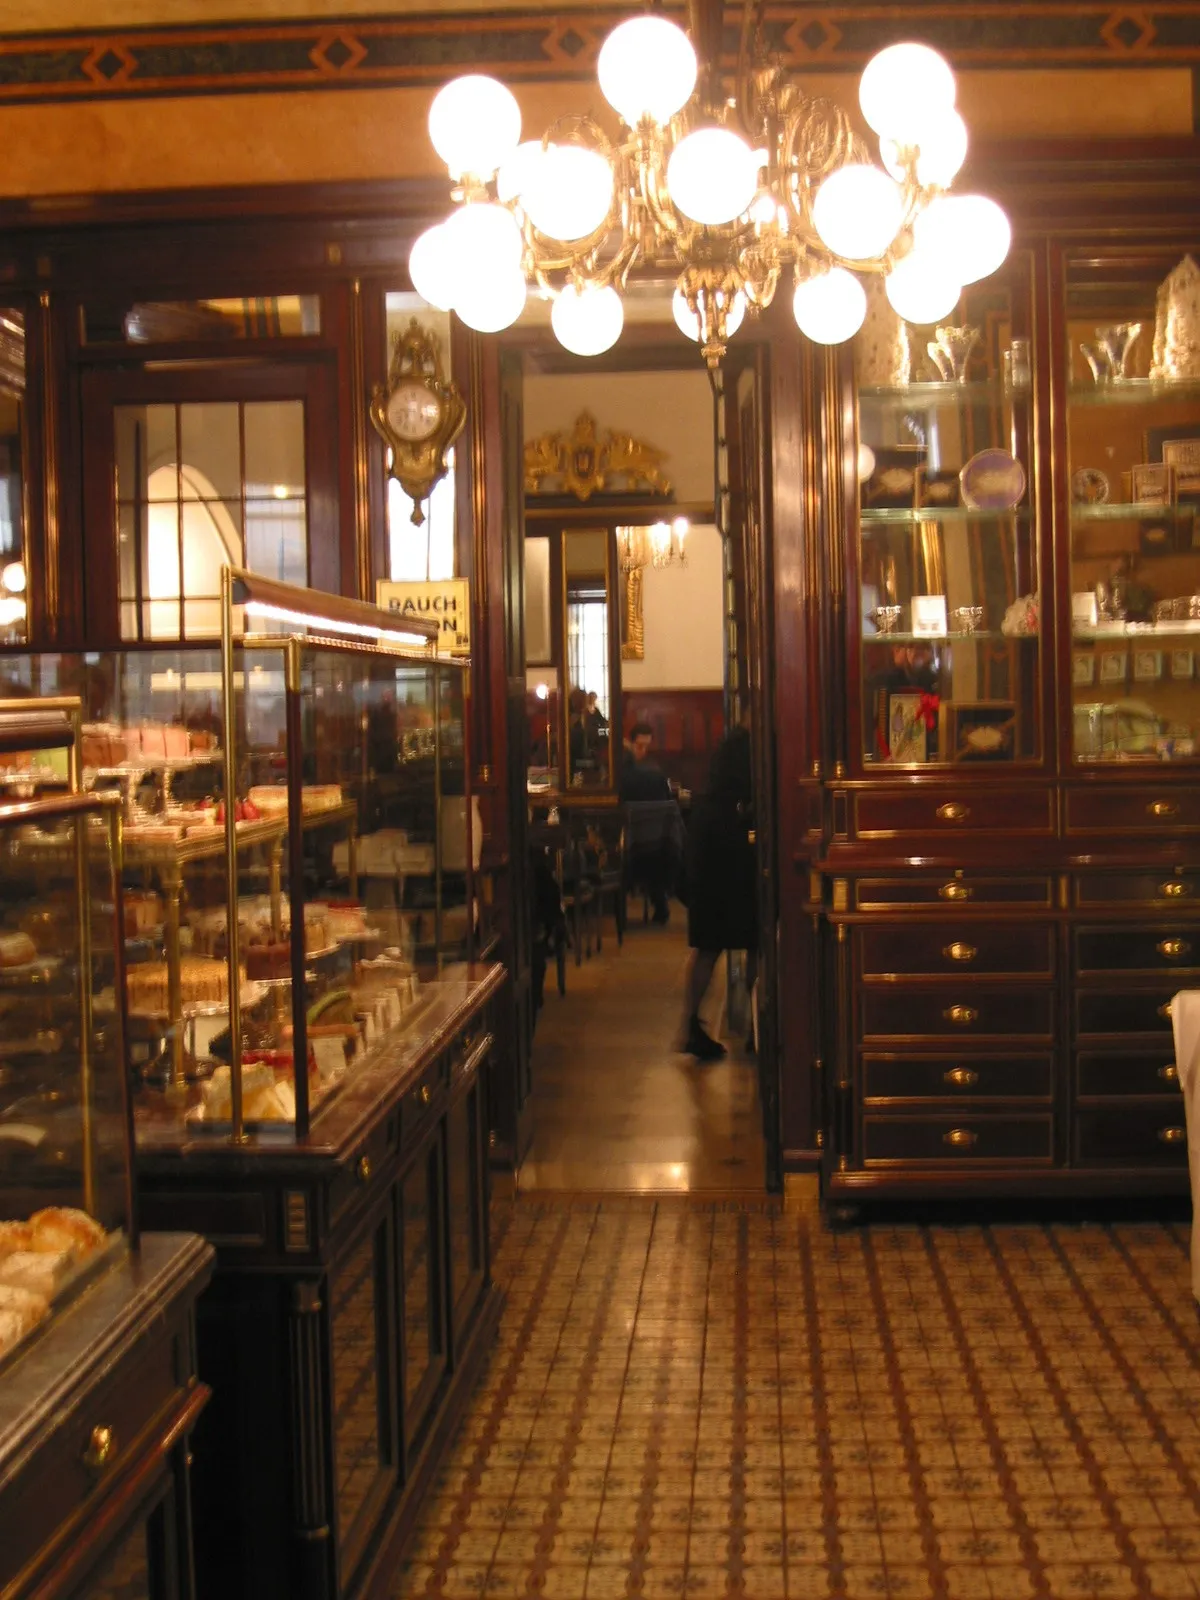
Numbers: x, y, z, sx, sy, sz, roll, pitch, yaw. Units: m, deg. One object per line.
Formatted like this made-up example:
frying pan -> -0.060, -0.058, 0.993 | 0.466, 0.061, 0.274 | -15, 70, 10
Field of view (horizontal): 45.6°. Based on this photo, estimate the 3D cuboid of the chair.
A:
chair -> -0.198, 0.473, 8.049 | 0.901, 1.481, 1.008 | 0, -3, 15

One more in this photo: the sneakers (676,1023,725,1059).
sneakers -> 0.410, 0.955, 5.732 | 0.223, 0.201, 0.088 | -1, 3, -19

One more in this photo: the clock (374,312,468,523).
clock -> -0.547, -1.130, 4.212 | 0.256, 0.673, 0.063 | -2, -4, -1

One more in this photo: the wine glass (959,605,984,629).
wine glass -> 1.044, -0.517, 4.008 | 0.060, 0.056, 0.062 | 5, 10, 41

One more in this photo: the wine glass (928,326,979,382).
wine glass -> 0.979, -1.242, 3.968 | 0.128, 0.184, 0.149 | -1, 5, 6

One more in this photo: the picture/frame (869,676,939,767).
picture/frame -> 0.838, -0.210, 3.953 | 0.198, 0.283, 0.035 | 1, -8, -4

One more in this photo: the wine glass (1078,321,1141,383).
wine glass -> 1.404, -1.229, 3.981 | 0.158, 0.180, 0.161 | -1, 4, 2

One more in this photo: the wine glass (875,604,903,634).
wine glass -> 0.808, -0.512, 3.995 | 0.068, 0.089, 0.075 | -1, 1, -2
